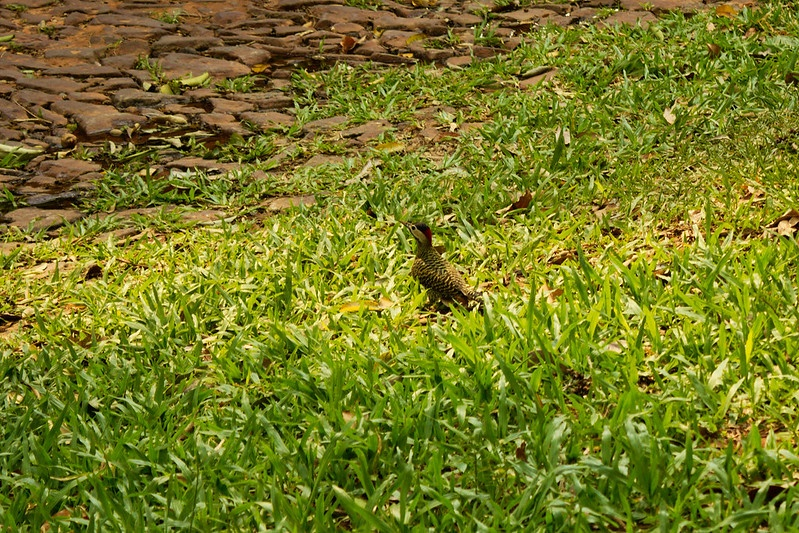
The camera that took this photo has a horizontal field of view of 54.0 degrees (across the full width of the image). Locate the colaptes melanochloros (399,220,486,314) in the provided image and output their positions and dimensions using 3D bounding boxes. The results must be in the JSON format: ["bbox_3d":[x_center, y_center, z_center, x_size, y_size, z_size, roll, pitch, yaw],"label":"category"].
[{"bbox_3d":[0.287,0.041,4.720,0.257,0.471,0.683,-26,36,-26],"label":"colaptes melanochloros"}]
